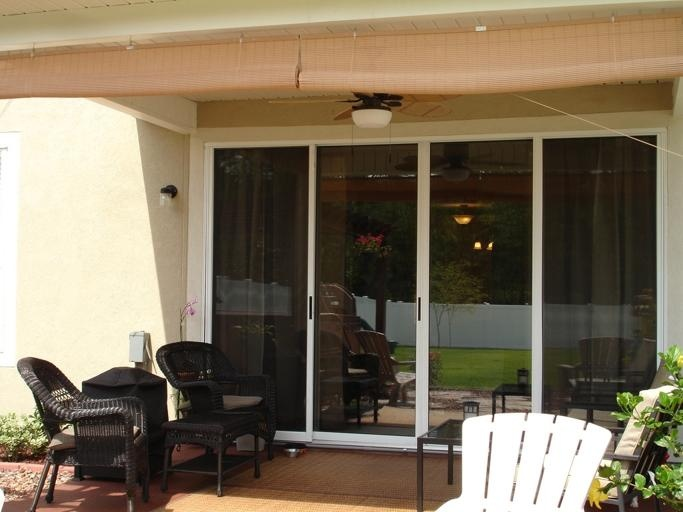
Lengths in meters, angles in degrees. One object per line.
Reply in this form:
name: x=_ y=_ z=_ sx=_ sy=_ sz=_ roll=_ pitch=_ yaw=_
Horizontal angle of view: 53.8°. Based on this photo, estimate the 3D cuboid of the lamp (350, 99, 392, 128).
lamp: x=0.251 y=-1.241 z=5.886 sx=0.339 sy=0.208 sz=0.223 roll=0 pitch=2 yaw=2

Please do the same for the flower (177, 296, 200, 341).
flower: x=-1.636 y=0.673 z=7.150 sx=0.214 sy=0.446 sz=0.072 roll=1 pitch=2 yaw=21

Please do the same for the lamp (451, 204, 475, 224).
lamp: x=1.182 y=-0.402 z=6.516 sx=0.195 sy=0.171 sz=0.193 roll=0 pitch=-4 yaw=6

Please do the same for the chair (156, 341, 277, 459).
chair: x=-1.219 y=1.385 z=6.372 sx=0.889 sy=1.102 sz=0.869 roll=-5 pitch=-6 yaw=36

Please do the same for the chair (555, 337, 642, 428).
chair: x=2.282 y=1.220 z=6.348 sx=0.614 sy=0.833 sz=0.613 roll=-8 pitch=-3 yaw=-6

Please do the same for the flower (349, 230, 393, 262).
flower: x=0.309 y=-0.094 z=6.699 sx=0.247 sy=0.213 sz=0.304 roll=0 pitch=6 yaw=-42

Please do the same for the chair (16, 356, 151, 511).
chair: x=-1.947 y=1.367 z=5.188 sx=1.089 sy=1.127 sz=0.755 roll=1 pitch=2 yaw=24

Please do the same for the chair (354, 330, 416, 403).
chair: x=0.503 y=1.102 z=6.819 sx=0.532 sy=0.727 sz=0.552 roll=-4 pitch=-3 yaw=44

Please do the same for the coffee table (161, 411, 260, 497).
coffee table: x=-1.096 y=1.687 z=5.825 sx=0.553 sy=0.563 sz=0.904 roll=-1 pitch=-9 yaw=16
